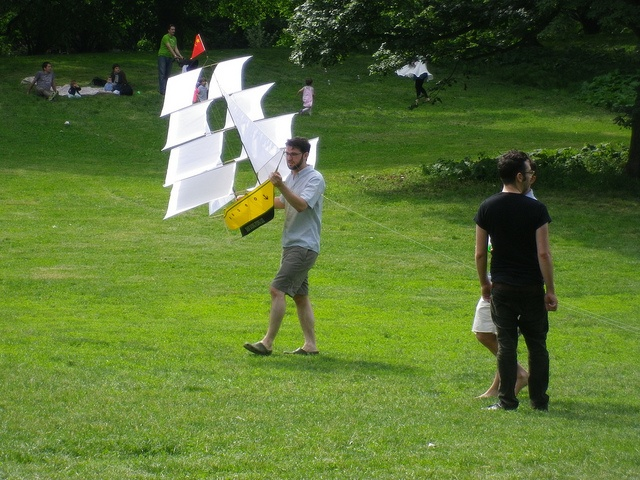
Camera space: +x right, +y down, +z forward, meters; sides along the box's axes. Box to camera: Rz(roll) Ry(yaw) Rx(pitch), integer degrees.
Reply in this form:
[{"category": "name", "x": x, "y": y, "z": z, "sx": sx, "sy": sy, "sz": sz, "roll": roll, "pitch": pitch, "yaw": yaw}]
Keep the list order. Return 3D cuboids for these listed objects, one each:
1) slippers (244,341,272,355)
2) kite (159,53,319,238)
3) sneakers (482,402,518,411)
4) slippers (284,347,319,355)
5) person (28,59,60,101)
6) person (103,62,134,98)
[{"category": "slippers", "x": -1.197, "y": 2.181, "z": 25.782, "sx": 0.471, "sy": 0.160, "sz": 0.247, "roll": 14, "pitch": -1, "yaw": -5}, {"category": "kite", "x": -1.516, "y": -2.193, "z": 27.796, "sx": 3.727, "sy": 3.261, "sz": 3.081, "roll": -16, "pitch": 1, "yaw": -29}, {"category": "sneakers", "x": 3.448, "y": 3.167, "z": 24.536, "sx": 0.654, "sy": 0.222, "sz": 0.208, "roll": -5, "pitch": -6, "yaw": 14}, {"category": "slippers", "x": -0.341, "y": 2.255, "z": 26.049, "sx": 0.666, "sy": 0.147, "sz": 0.218, "roll": 2, "pitch": -7, "yaw": -9}, {"category": "person", "x": -9.460, "y": -5.525, "z": 45.272, "sx": 0.824, "sy": 1.275, "sz": 1.448, "roll": -4, "pitch": 15, "yaw": -44}, {"category": "person", "x": -7.211, "y": -5.688, "z": 46.347, "sx": 0.937, "sy": 1.062, "sz": 1.142, "roll": -4, "pitch": 11, "yaw": -33}]
